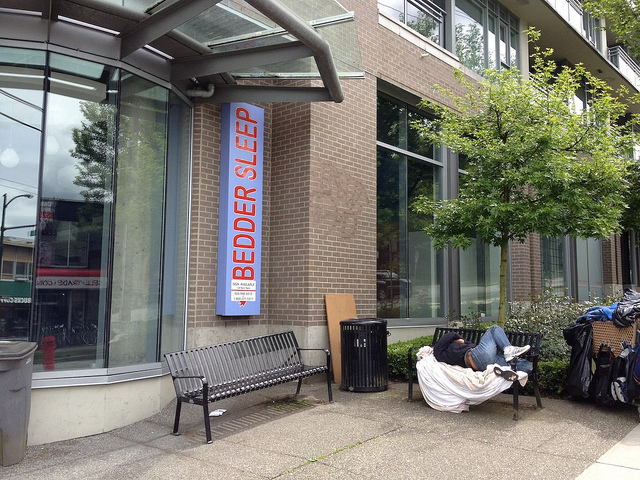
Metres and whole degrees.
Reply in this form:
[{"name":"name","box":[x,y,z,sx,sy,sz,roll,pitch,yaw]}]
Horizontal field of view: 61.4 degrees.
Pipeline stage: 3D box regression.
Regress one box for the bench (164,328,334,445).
[{"name":"bench","box":[-1.010,2.204,8.544,0.996,1.112,2.725,0,-1,40]}]

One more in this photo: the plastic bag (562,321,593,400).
[{"name":"plastic bag","box":[4.237,1.983,8.883,0.432,1.313,0.358,2,6,26]}]

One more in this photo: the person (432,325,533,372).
[{"name":"person","box":[2.558,1.779,8.854,1.670,0.771,0.714,-6,-13,29]}]

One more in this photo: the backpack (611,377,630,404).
[{"name":"backpack","box":[4.624,2.282,8.279,0.103,0.354,0.308,-4,6,-27]}]

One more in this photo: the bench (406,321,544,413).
[{"name":"bench","box":[2.484,2.073,8.745,0.818,1.056,1.967,-1,-3,-43]}]

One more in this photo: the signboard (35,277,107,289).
[{"name":"signboard","box":[-3.655,0.621,7.913,0.936,0.220,0.058,-3,6,-32]}]

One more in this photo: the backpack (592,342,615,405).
[{"name":"backpack","box":[4.509,2.113,8.571,0.280,0.911,0.450,2,6,24]}]
